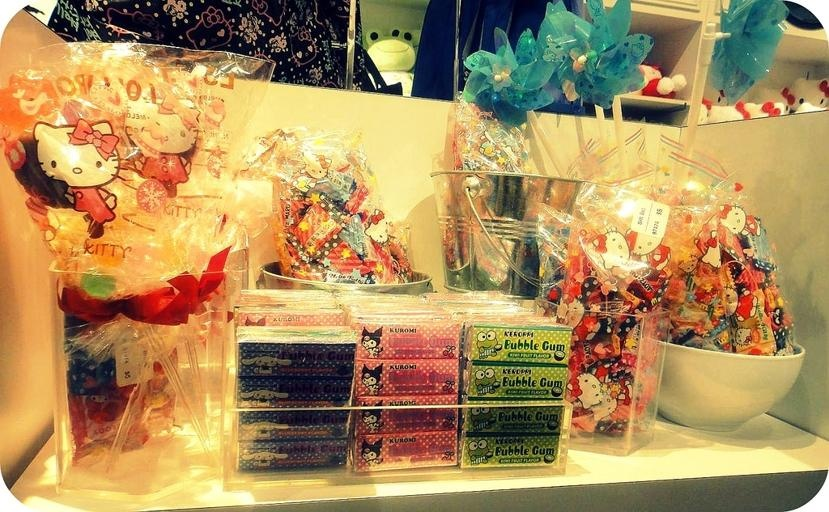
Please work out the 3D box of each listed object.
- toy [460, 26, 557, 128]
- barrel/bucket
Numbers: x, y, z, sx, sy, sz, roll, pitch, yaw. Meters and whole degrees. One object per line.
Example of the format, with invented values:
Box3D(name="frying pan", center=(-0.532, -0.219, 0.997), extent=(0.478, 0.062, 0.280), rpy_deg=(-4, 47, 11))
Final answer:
Box3D(name="toy", center=(0.235, -0.422, 1.532), extent=(0.247, 0.226, 0.088), rpy_deg=(-11, 22, 28))
Box3D(name="barrel/bucket", center=(0.219, -0.047, 1.517), extent=(0.333, 0.217, 0.313), rpy_deg=(4, 4, 0))
